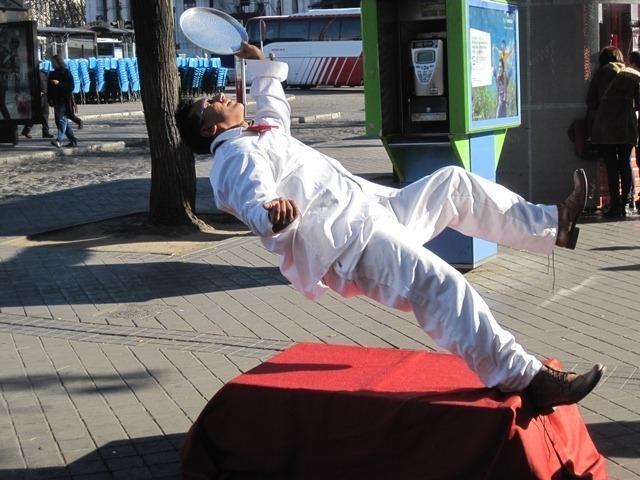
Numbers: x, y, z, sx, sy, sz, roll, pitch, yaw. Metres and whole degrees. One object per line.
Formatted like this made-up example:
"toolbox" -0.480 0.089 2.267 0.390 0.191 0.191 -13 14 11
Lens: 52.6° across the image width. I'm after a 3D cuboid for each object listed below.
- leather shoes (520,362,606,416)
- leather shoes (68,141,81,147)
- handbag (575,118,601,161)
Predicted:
"leather shoes" 1.114 0.728 3.121 0.509 0.235 0.173 -20 26 42
"leather shoes" -7.263 -2.798 19.161 0.207 0.222 0.596 -12 15 -43
"handbag" 3.682 -1.349 9.037 0.210 0.489 0.434 0 11 -1
